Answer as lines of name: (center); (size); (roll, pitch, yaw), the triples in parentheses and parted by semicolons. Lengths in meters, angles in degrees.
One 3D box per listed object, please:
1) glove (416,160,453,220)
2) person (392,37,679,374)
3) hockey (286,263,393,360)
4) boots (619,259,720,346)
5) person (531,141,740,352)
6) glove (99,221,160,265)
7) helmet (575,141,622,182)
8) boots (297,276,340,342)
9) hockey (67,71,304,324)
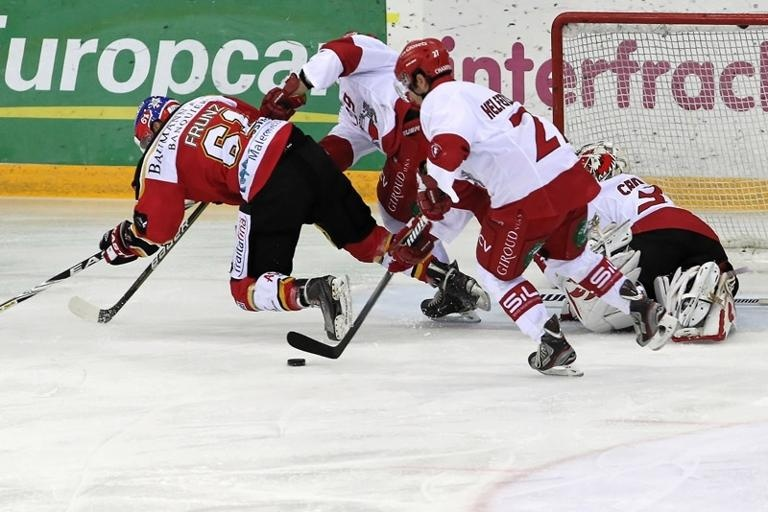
glove: (0.204, -0.274, 3.454); (0.085, 0.141, 0.198); (-28, 66, -36)
person: (0.574, -0.192, 3.480); (1.072, 1.307, 0.413); (3, 6, -17)
hockey: (-0.265, 0.229, 3.740); (0.120, 0.383, 0.407); (31, -5, 38)
boots: (1.330, 0.212, 3.809); (0.309, 0.385, 0.153); (29, 2, 11)
person: (1.161, -0.043, 4.005); (0.630, 0.505, 1.249); (-21, 31, -8)
glove: (-1.140, -0.050, 3.891); (0.283, 0.111, 0.189); (-14, 16, 14)
helmet: (1.073, -0.468, 4.274); (0.315, 0.080, 0.206); (5, 45, 18)
boots: (-0.248, 0.218, 3.574); (0.129, 0.167, 0.239); (-13, 64, -16)
hockey: (-1.203, -0.169, 4.336); (0.560, 1.574, 0.285); (38, 34, -2)
